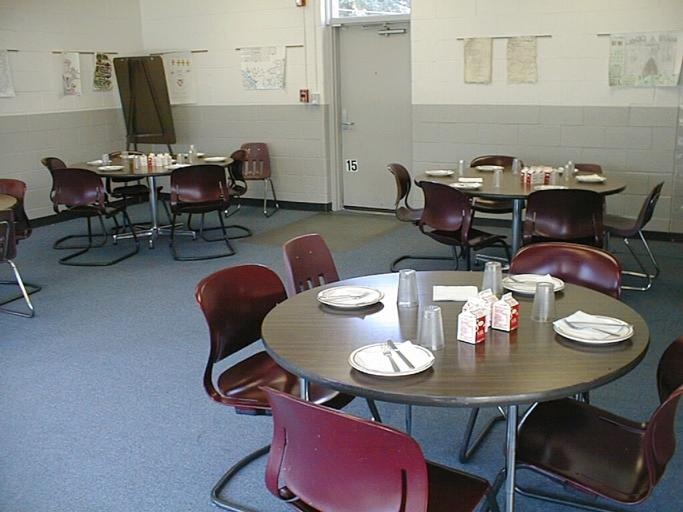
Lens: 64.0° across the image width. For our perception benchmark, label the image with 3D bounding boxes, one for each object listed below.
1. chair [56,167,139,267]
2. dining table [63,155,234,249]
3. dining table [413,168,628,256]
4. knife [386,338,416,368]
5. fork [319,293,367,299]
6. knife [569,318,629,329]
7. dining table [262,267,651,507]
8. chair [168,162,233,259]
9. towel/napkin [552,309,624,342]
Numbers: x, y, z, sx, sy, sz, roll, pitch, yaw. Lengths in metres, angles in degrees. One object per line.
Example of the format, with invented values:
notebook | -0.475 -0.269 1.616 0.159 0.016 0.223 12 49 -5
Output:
chair | -2.833 -0.538 6.086 0.851 0.992 1.504 -14 22 -26
dining table | -2.281 -0.758 6.274 1.592 0.745 1.395 -1 9 -5
dining table | 1.549 -0.595 4.868 1.297 0.618 1.138 0 11 0
knife | 0.203 0.324 1.859 0.030 0.009 0.193 -18 20 -10
fork | 0.005 0.173 2.369 0.208 0.020 0.052 1 22 2
knife | 0.935 0.250 2.021 0.220 0.010 0.060 3 18 8
dining table | 0.413 0.315 1.986 1.193 0.488 1.163 12 19 36
chair | -1.581 -0.515 5.939 0.697 0.988 0.752 -9 22 -14
towel/napkin | 0.907 0.259 2.008 0.256 0.022 0.240 -4 16 -2
